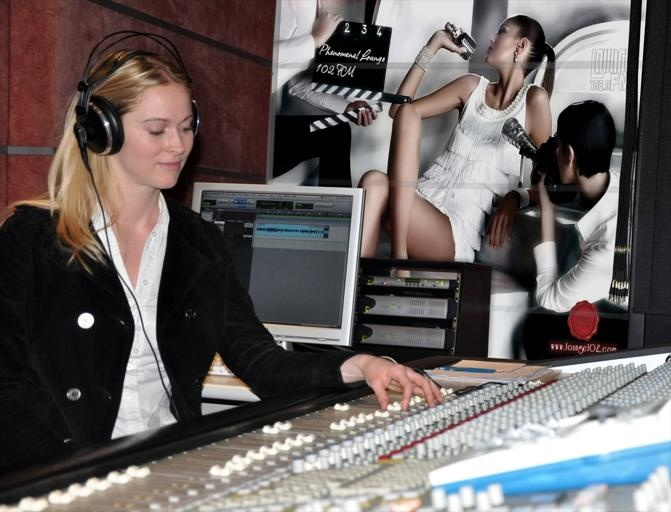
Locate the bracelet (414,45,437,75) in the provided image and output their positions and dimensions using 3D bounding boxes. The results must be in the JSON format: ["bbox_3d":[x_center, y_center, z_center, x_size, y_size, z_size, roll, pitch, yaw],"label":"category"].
[{"bbox_3d":[0.629,-1.351,3.940,0.128,0.162,0.053,36,4,12],"label":"bracelet"}]

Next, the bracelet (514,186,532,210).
[{"bbox_3d":[1.250,-0.375,3.768,0.102,0.134,0.148,-1,-9,7],"label":"bracelet"}]

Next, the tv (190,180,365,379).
[{"bbox_3d":[-0.170,0.090,1.952,0.695,0.591,0.116,3,-9,15],"label":"tv"}]

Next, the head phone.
[{"bbox_3d":[-0.498,-0.413,1.468,0.304,0.324,0.125,-12,27,-32],"label":"head phone"}]
